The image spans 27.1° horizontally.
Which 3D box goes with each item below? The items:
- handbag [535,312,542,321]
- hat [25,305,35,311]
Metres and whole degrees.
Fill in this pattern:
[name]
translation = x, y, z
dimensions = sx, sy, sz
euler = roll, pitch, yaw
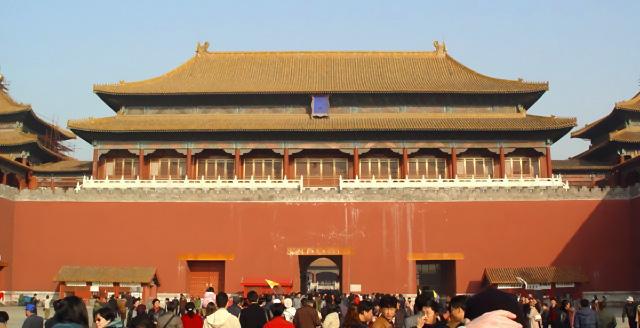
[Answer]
[handbag]
translation = 14.225, 10.122, 86.579
dimensions = 0.304, 0.638, 1.311
euler = -4, -19, 13
[hat]
translation = -17.177, 8.942, 81.224
dimensions = 0.567, 0.380, 0.350
euler = 1, -19, -1
